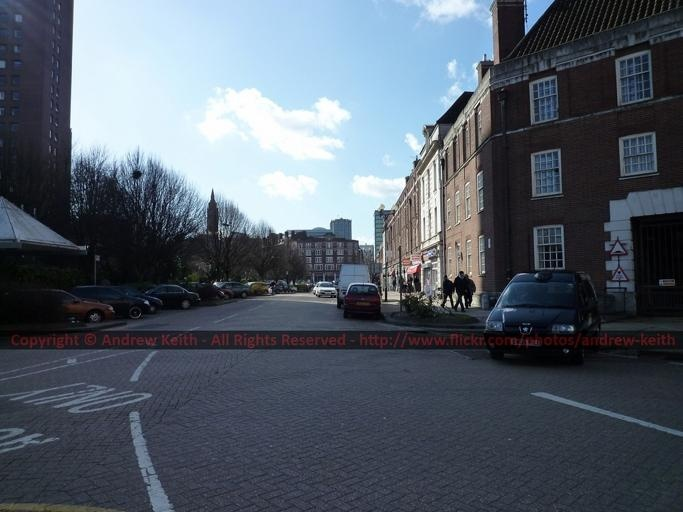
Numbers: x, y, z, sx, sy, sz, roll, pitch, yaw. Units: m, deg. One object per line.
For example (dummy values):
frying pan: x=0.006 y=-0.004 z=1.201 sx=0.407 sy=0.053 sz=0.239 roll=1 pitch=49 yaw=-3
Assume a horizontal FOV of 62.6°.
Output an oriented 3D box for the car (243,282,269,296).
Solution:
car: x=-9.636 y=3.726 z=63.757 sx=1.609 sy=1.424 sz=1.826 roll=0 pitch=-6 yaw=24

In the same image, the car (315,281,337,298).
car: x=-1.673 y=3.639 z=59.985 sx=2.098 sy=1.859 sz=4.753 roll=1 pitch=-7 yaw=0

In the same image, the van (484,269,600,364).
van: x=4.742 y=1.363 z=13.313 sx=2.645 sy=2.216 sz=2.188 roll=0 pitch=-6 yaw=14

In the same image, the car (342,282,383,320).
car: x=0.954 y=2.030 z=26.125 sx=1.598 sy=1.698 sz=2.080 roll=1 pitch=-6 yaw=-1

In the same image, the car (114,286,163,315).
car: x=-11.069 y=2.314 z=29.657 sx=2.583 sy=1.101 sz=1.318 roll=2 pitch=1 yaw=-5

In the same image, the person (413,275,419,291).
person: x=5.734 y=2.104 z=43.154 sx=0.583 sy=1.326 sz=0.643 roll=-1 pitch=2 yaw=14

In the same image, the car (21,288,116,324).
car: x=-10.561 y=1.914 z=21.705 sx=2.773 sy=1.136 sz=1.248 roll=0 pitch=-2 yaw=-24

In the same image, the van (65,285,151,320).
van: x=-10.855 y=2.158 z=26.614 sx=3.048 sy=1.586 sz=1.529 roll=2 pitch=-1 yaw=-20
